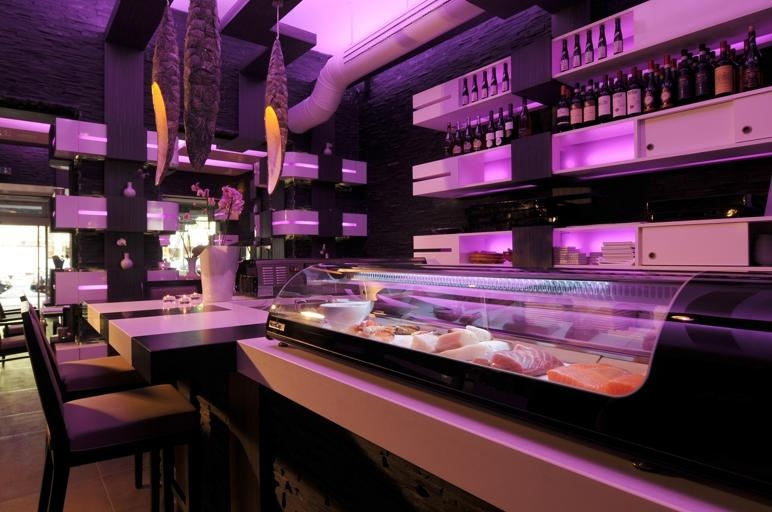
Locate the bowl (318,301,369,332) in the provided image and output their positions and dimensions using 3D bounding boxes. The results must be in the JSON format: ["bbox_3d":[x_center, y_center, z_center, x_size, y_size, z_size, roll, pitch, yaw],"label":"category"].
[{"bbox_3d":[-0.175,0.262,2.188,0.147,0.076,0.126,6,-8,-31],"label":"bowl"}]

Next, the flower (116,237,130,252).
[{"bbox_3d":[-2.915,-0.128,5.553,0.112,0.129,0.052,1,4,-37],"label":"flower"}]

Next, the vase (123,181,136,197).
[{"bbox_3d":[-2.844,-0.738,5.569,0.153,0.191,0.149,-1,0,-9],"label":"vase"}]

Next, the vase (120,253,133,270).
[{"bbox_3d":[-2.870,0.060,5.572,0.132,0.191,0.100,-1,2,-36],"label":"vase"}]

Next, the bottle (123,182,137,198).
[{"bbox_3d":[-2.846,-0.732,5.571,0.161,0.203,0.160,0,6,0],"label":"bottle"}]

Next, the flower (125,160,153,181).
[{"bbox_3d":[-2.890,-0.983,5.785,0.059,0.212,0.249,13,3,30],"label":"flower"}]
